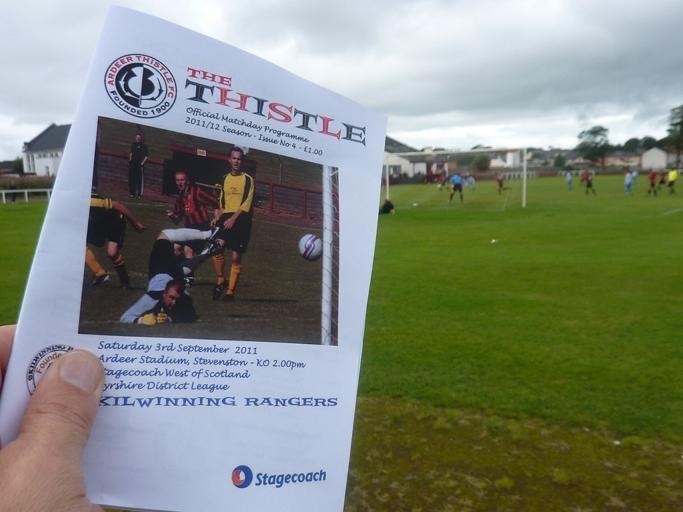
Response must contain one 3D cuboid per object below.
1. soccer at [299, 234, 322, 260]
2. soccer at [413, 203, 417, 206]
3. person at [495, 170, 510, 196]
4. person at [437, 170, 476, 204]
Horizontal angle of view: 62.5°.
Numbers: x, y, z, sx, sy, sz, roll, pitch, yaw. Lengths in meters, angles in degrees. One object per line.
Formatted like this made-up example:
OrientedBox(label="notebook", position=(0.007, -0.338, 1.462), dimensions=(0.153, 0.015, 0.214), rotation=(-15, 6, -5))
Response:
OrientedBox(label="soccer", position=(-0.091, -0.023, 1.706), dimensions=(0.070, 0.081, 0.064), rotation=(4, -6, -22))
OrientedBox(label="soccer", position=(2.550, -1.717, 19.335), dimensions=(0.149, 0.063, 0.257), rotation=(-1, 11, 4))
OrientedBox(label="person", position=(5.599, -2.478, 19.566), dimensions=(0.430, 0.729, 0.672), rotation=(2, 11, 16))
OrientedBox(label="person", position=(3.899, -2.315, 19.330), dimensions=(1.044, 0.988, 1.371), rotation=(3, 12, 24))
